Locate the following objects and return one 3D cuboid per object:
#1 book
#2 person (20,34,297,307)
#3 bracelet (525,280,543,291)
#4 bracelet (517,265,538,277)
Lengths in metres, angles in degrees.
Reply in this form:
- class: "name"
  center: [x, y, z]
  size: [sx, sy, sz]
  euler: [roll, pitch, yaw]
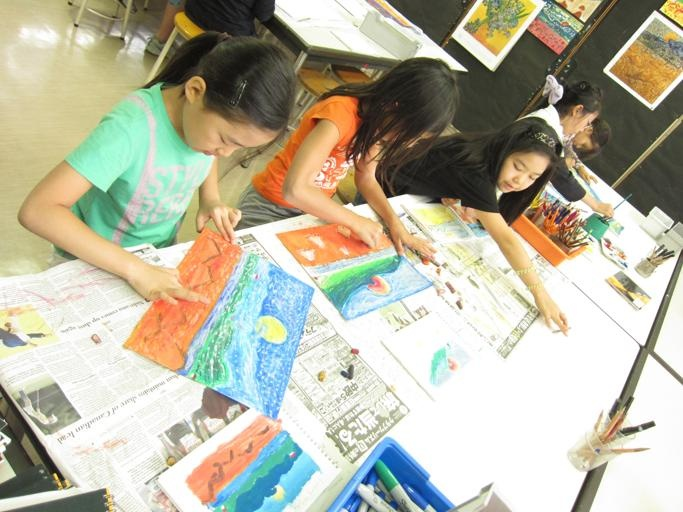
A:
- class: "book"
  center: [0.393, -0.132, 1.704]
  size: [0.236, 0.053, 0.255]
  euler: [-14, 58, -41]
- class: "person"
  center: [-0.436, -0.231, 1.115]
  size: [0.456, 0.708, 0.563]
  euler: [26, 35, -4]
- class: "bracelet"
  center: [0.709, 0.106, 1.588]
  size: [0.039, 0.014, 0.036]
  euler: [-20, 6, -4]
- class: "bracelet"
  center: [0.695, 0.061, 1.613]
  size: [0.012, 0.044, 0.046]
  euler: [55, 25, -7]
